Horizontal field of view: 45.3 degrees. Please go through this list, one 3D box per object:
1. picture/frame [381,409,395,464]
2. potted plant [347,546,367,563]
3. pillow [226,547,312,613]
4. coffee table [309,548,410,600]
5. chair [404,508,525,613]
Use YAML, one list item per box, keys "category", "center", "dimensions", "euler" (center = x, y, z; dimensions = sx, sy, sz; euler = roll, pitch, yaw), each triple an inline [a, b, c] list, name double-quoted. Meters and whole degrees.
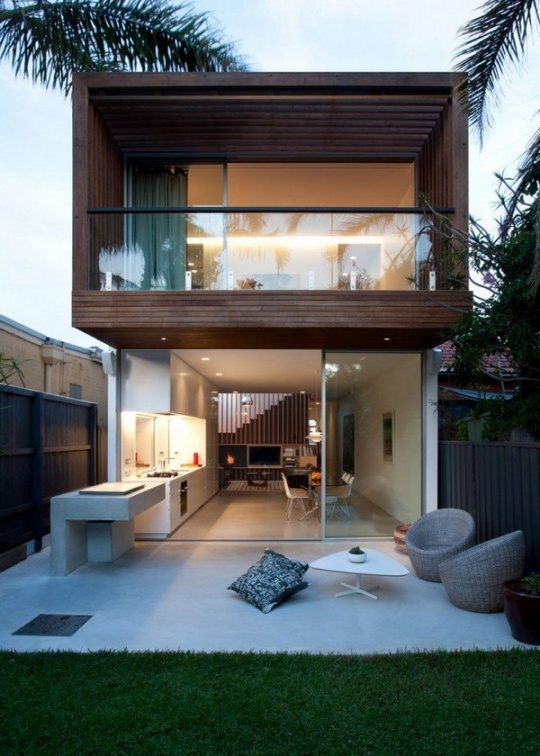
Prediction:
- category: "picture/frame"
  center: [1.570, 0.778, 8.610]
  dimensions: [0.156, 0.663, 0.065]
  euler: [-1, -4, 14]
- category: "potted plant"
  center: [0.775, 1.560, 5.704]
  dimensions: [0.120, 0.121, 0.123]
  euler: [2, -4, -24]
- category: "pillow"
  center: [0.025, 1.792, 5.685]
  dimensions: [0.569, 0.260, 0.969]
  euler: [-3, -5, 35]
- category: "coffee table"
  center: [0.762, 1.656, 5.615]
  dimensions: [0.555, 0.261, 0.559]
  euler: [2, 4, -10]
- category: "chair"
  center: [1.721, 1.597, 5.658]
  dimensions: [0.681, 0.663, 1.972]
  euler: [0, -4, -4]
